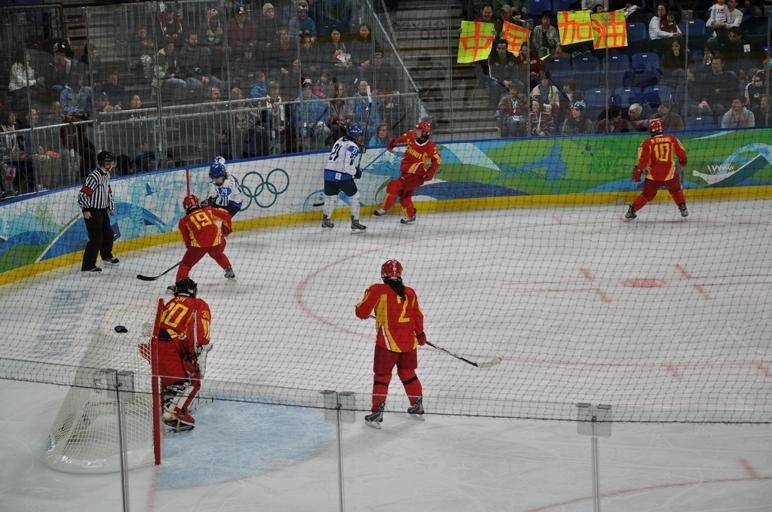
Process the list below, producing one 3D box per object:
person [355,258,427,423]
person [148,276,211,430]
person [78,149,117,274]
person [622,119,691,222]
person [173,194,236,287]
[{"bbox_3d":[0.047,0.918,10.455,0.710,1.668,0.992,-2,15,1],"label":"person"},{"bbox_3d":[-2.185,1.046,10.430,0.653,1.490,0.632,3,-4,-15],"label":"person"},{"bbox_3d":[-4.537,-0.708,15.425,0.637,1.930,0.811,1,-5,-17],"label":"person"},{"bbox_3d":[4.733,-1.479,17.166,1.051,1.759,0.445,1,15,11],"label":"person"},{"bbox_3d":[-2.688,-0.216,14.346,0.822,1.392,1.300,-4,15,-9],"label":"person"}]
